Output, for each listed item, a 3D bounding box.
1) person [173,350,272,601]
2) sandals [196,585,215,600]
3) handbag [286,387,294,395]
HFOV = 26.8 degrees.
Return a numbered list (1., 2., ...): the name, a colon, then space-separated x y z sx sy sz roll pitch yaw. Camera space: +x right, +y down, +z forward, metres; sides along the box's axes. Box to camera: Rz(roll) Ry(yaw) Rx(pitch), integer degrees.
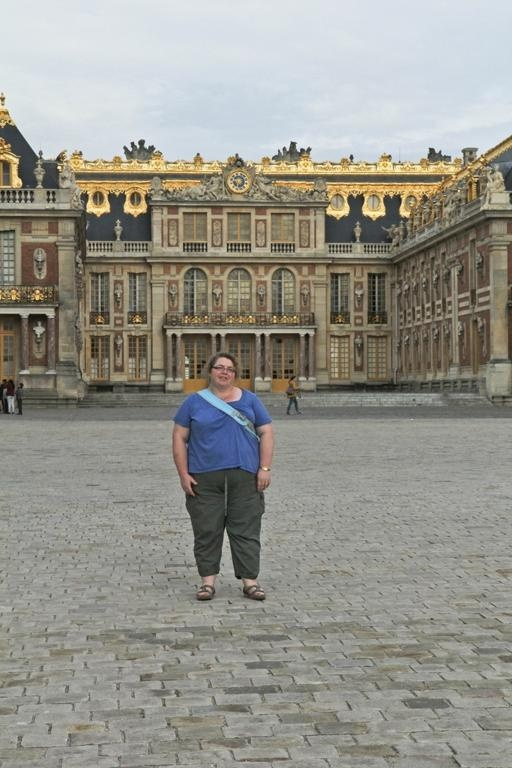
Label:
1. person: -0.177 0.613 6.025 0.552 1.232 0.406 -1 4 -1
2. sandals: -0.275 1.177 5.958 0.093 0.081 0.218 -1 4 3
3. handbag: 1.169 0.323 34.886 0.222 0.266 0.398 -1 4 2
